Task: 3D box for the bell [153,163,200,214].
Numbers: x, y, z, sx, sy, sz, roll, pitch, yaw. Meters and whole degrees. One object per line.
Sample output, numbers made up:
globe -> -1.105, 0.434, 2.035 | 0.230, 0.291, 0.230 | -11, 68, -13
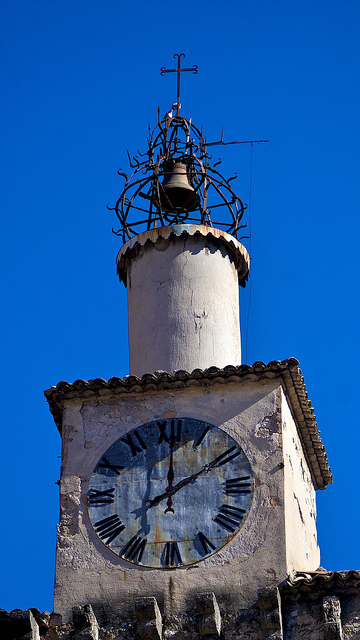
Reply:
bell -> 0.031, -1.896, 36.989 | 0.532, 0.790, 0.726 | 1, -39, -1
